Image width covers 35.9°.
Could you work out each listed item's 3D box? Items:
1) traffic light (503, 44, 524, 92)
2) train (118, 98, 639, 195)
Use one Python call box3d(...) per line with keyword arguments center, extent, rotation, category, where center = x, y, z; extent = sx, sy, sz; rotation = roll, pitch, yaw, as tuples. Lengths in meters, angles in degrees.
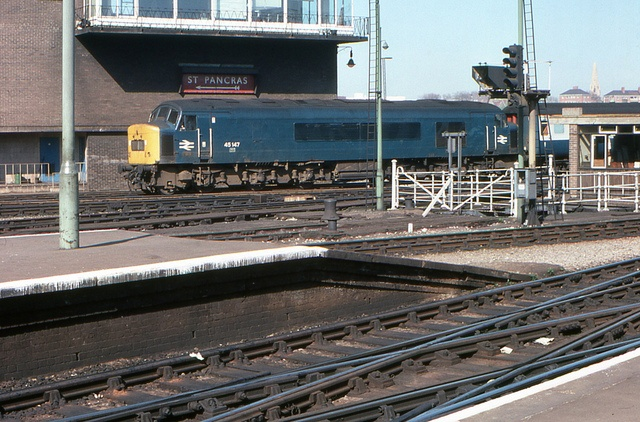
box3d(center=(5.658, -4.203, 28.757), extent=(0.596, 1.350, 1.271), rotation=(0, 2, 11), category="traffic light")
box3d(center=(0.959, -2.914, 42.692), extent=(18.953, 4.122, 2.573), rotation=(-1, 3, -19), category="train")
